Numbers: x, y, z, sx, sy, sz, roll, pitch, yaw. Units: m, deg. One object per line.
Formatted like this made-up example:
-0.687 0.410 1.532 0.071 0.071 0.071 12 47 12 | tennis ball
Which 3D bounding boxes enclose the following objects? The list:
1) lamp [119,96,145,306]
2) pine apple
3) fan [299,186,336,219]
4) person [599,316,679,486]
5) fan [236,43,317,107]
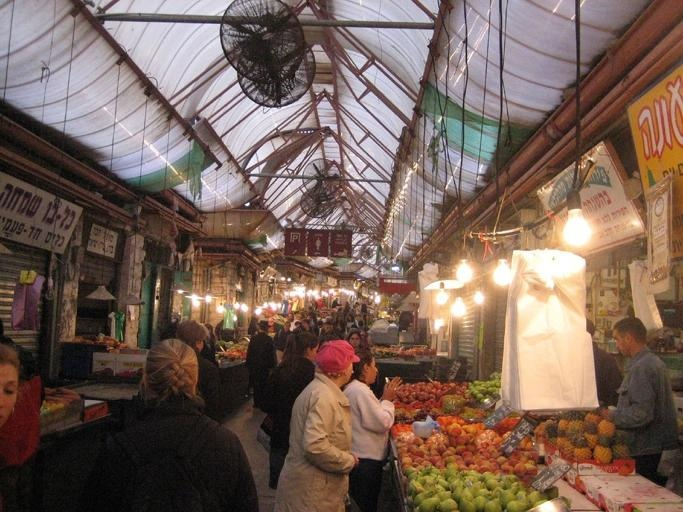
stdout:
-4.547 -0.793 11.236 0.334 5.351 0.393 3 0 3 | lamp
1.941 1.496 4.192 0.249 0.342 0.501 11 -18 -39 | pine apple
-0.694 -1.594 15.118 0.969 0.957 0.772 2 -15 -3 | fan
2.612 1.301 4.609 0.599 1.531 0.747 3 1 2 | person
-0.765 -2.195 6.150 0.820 0.845 0.815 2 3 -33 | fan
